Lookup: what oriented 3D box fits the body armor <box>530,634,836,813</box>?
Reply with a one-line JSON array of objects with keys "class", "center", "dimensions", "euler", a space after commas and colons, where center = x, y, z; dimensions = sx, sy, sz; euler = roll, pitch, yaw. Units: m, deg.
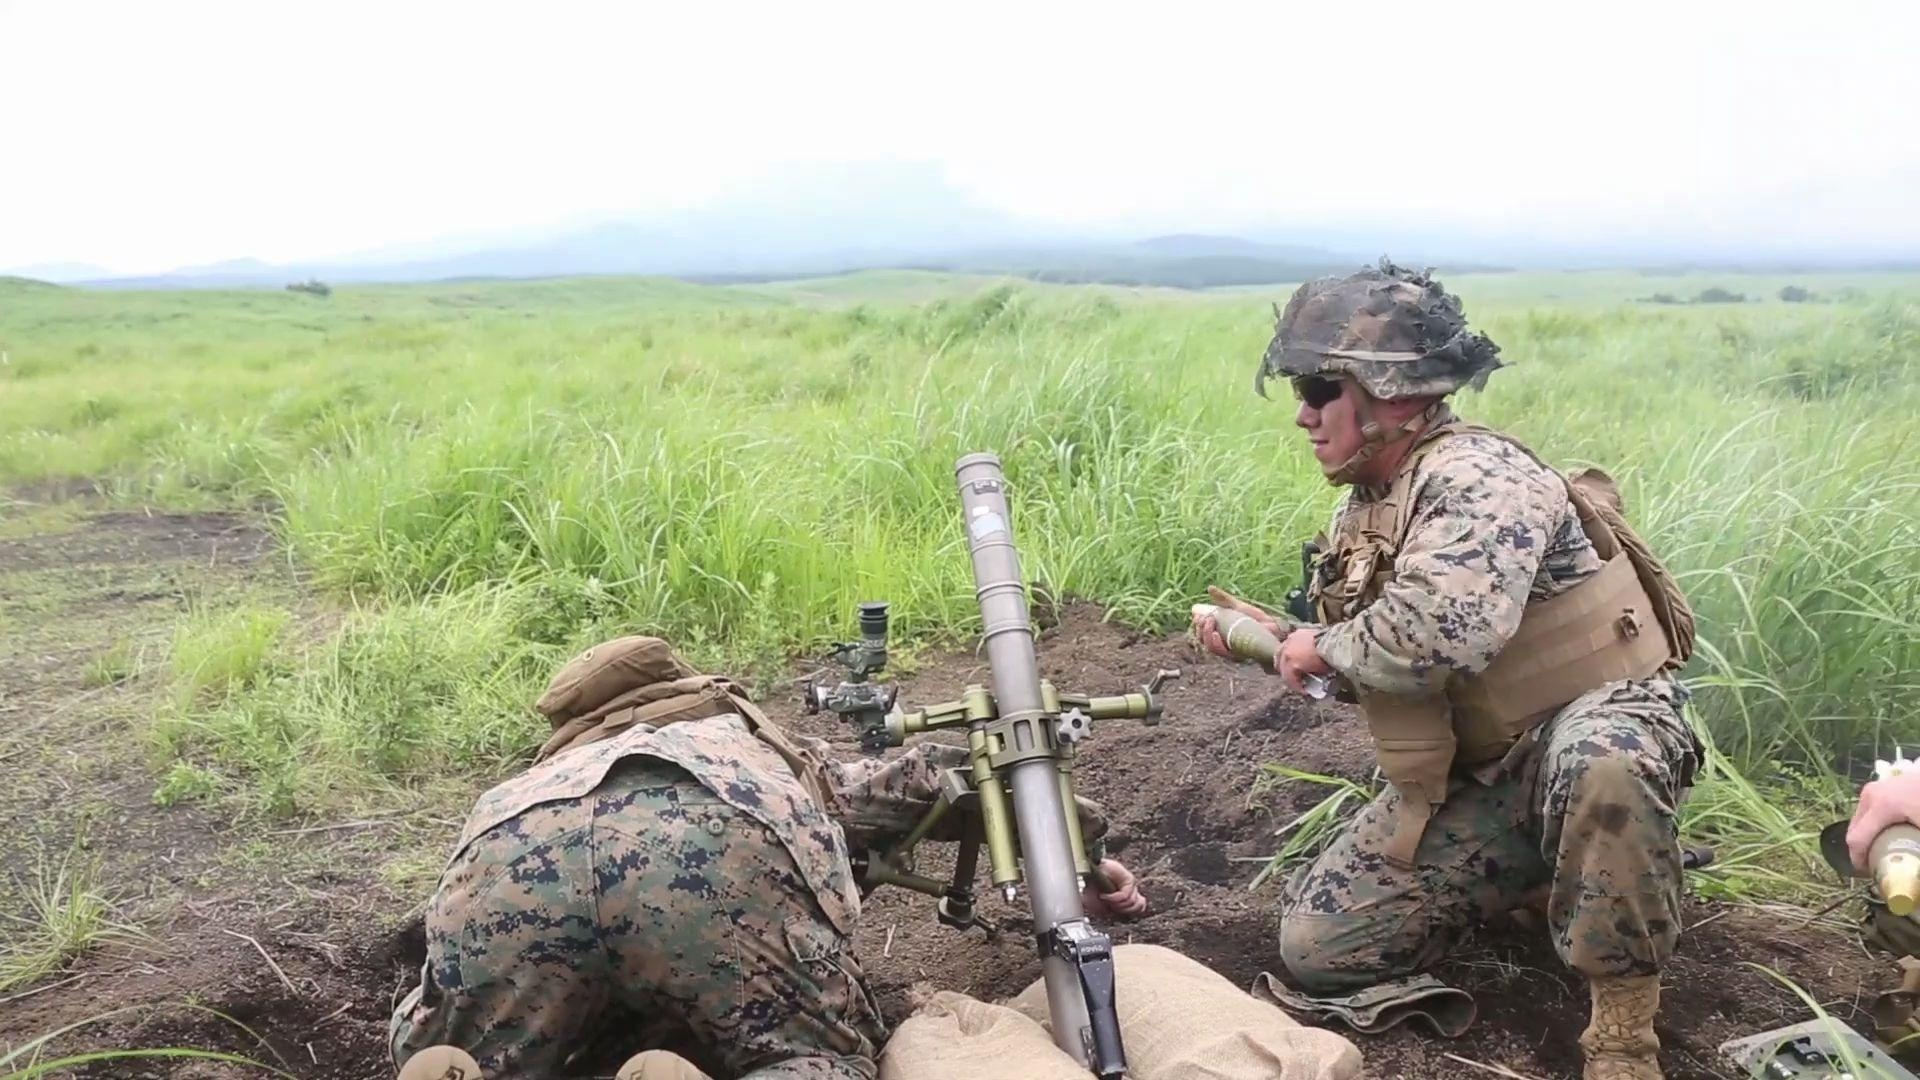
[{"class": "body armor", "center": [-1.083, 0.599, 5.296], "dimensions": [0.915, 0.359, 0.720], "euler": [11, 4, 1]}]

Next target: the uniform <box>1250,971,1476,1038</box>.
[{"class": "uniform", "center": [1.652, 1.807, 5.348], "dimensions": [0.520, 0.124, 0.347], "euler": [-3, -7, 5]}]

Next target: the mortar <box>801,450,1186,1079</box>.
[{"class": "mortar", "center": [-0.104, 0.949, 5.518], "dimensions": [1.308, 2.370, 1.171], "euler": [-1, -27, -12]}]

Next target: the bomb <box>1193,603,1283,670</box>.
[{"class": "bomb", "center": [1.097, 0.393, 5.545], "dimensions": [0.183, 0.142, 0.482], "euler": [20, 13, -25]}]

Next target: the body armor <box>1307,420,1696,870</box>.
[{"class": "body armor", "center": [1.834, 0.310, 6.108], "dimensions": [1.878, 1.834, 1.494], "euler": [-13, 6, -9]}]
